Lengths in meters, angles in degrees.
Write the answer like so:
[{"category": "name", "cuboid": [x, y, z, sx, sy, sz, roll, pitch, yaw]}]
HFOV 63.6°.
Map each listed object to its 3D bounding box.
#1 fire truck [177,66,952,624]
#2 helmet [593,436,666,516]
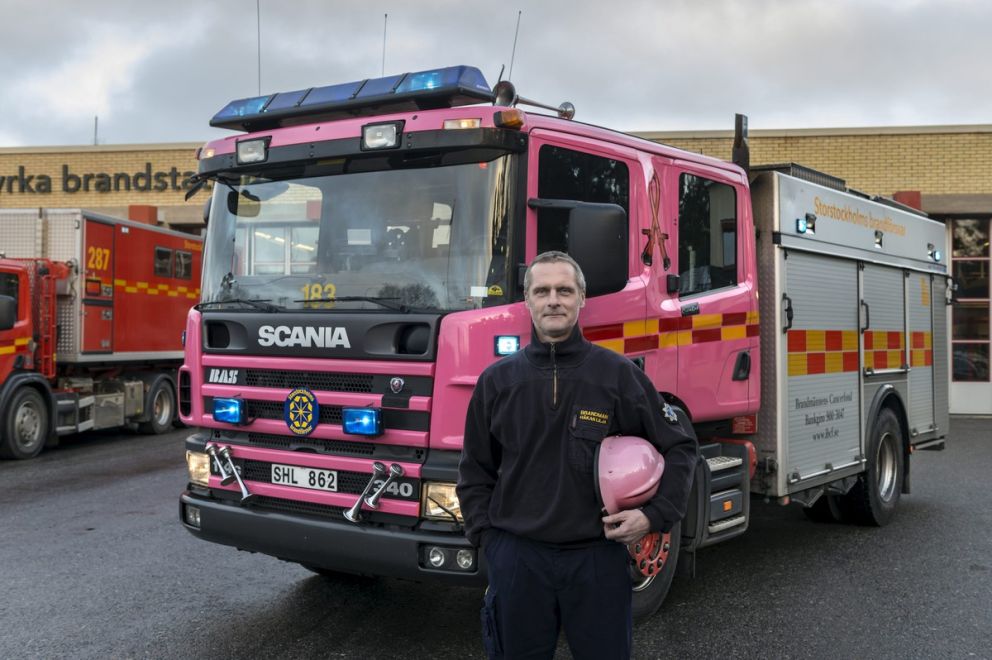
[{"category": "fire truck", "cuboid": [1.426, -0.103, 8.491, 3.685, 4.005, 7.962, -3, -5, 42]}, {"category": "helmet", "cuboid": [0.750, 0.812, 4.707, 0.459, 0.413, 0.446, -1, 48, 12]}]
